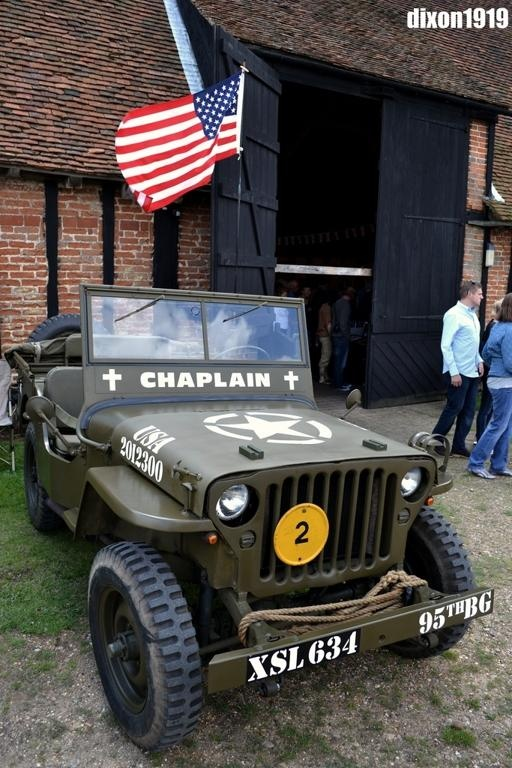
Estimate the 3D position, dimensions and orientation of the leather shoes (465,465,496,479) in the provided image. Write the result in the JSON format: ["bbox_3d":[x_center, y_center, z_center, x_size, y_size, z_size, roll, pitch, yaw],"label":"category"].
[{"bbox_3d":[2.079,0.813,6.443,0.198,0.084,0.110,4,5,30],"label":"leather shoes"}]

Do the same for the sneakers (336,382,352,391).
[{"bbox_3d":[1.387,0.049,10.994,0.109,0.145,0.304,0,0,-16],"label":"sneakers"}]

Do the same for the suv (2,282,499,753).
[{"bbox_3d":[-0.287,0.232,3.531,1.391,1.362,2.640,-3,14,-26],"label":"suv"}]
